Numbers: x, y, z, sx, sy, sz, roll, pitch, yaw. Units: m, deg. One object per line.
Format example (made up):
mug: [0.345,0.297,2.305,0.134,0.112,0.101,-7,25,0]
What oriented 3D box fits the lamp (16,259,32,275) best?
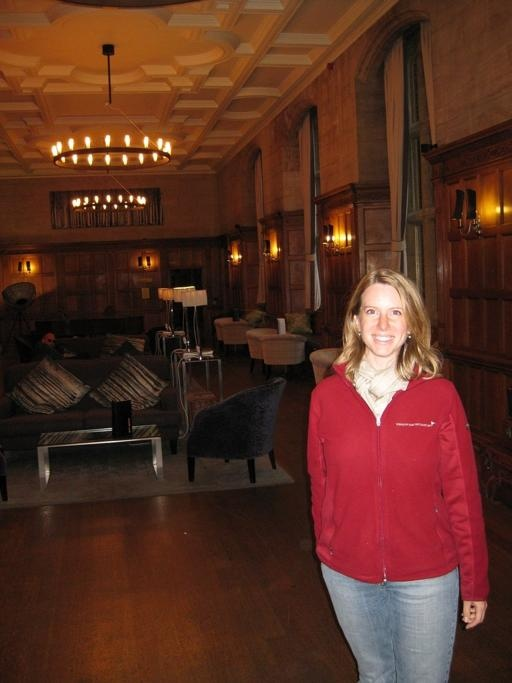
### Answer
lamp: [-7.528,-2.451,16.598,0.484,0.451,0.173,-3,3,-17]

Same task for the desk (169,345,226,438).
desk: [-0.780,0.631,6.650,0.360,0.887,1.056,-2,4,-14]

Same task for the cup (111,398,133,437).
cup: [-1.247,0.710,4.735,0.189,0.323,0.227,-4,3,-17]

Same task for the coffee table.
coffee table: [-1.480,1.071,4.832,1.102,0.450,0.741,-3,3,-16]

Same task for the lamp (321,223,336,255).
lamp: [1.233,-1.756,8.650,0.117,0.533,0.436,-3,3,-10]

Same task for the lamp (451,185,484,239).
lamp: [1.913,-1.194,4.742,0.186,0.484,0.492,-3,3,4]

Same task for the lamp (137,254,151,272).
lamp: [-3.713,-2.660,17.068,0.498,0.554,0.166,-4,3,-18]

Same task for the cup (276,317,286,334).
cup: [0.485,-0.311,9.871,0.196,0.348,0.365,0,4,-4]

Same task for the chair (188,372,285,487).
chair: [-0.176,0.689,4.491,0.868,0.677,0.310,-3,3,-8]
